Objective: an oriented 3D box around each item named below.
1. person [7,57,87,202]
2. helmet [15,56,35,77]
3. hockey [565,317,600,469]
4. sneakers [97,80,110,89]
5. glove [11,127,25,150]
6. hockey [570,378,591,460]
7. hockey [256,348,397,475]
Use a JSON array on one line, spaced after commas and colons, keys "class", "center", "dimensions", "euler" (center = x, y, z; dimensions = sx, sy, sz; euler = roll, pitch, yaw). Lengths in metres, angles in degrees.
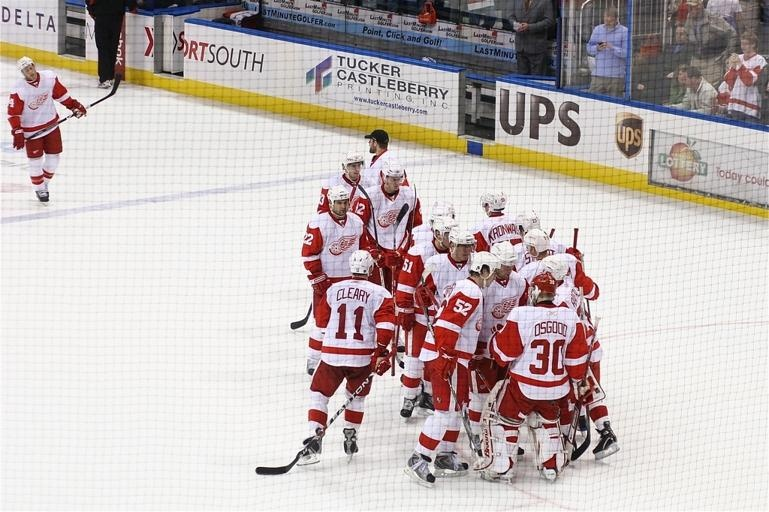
[{"class": "person", "center": [-5.427, -1.985, 18.950], "dimensions": [0.613, 2.228, 1.150], "euler": [12, 17, 30]}, {"class": "helmet", "center": [-5.553, -2.933, 18.777], "dimensions": [0.233, 0.323, 0.655], "euler": [-2, 15, -18]}, {"class": "hockey", "center": [2.273, 1.524, 13.796], "dimensions": [0.400, 1.769, 0.386], "euler": [3, 0, 0]}, {"class": "sneakers", "center": [-5.577, -3.416, 24.077], "dimensions": [0.272, 0.126, 0.110], "euler": [11, 14, 35]}, {"class": "glove", "center": [-5.633, -1.820, 18.641], "dimensions": [0.185, 0.283, 0.103], "euler": [-1, 14, -13]}, {"class": "hockey", "center": [2.273, 1.857, 13.808], "dimensions": [0.268, 0.907, 0.273], "euler": [9, -9, -1]}, {"class": "hockey", "center": [-0.762, 2.011, 14.849], "dimensions": [0.581, 0.349, 3.232], "euler": [-16, 4, 17]}]
